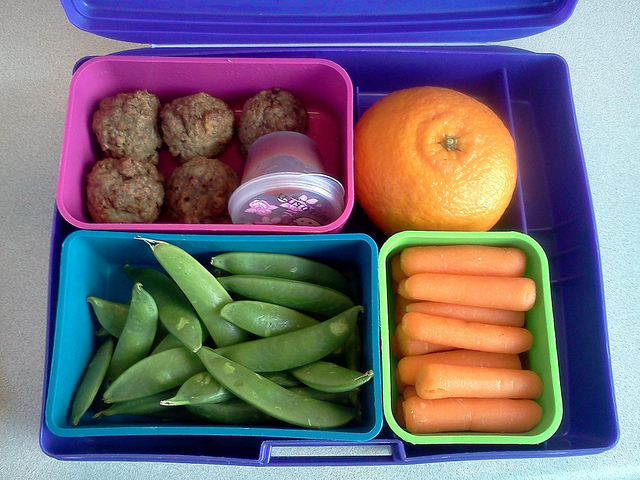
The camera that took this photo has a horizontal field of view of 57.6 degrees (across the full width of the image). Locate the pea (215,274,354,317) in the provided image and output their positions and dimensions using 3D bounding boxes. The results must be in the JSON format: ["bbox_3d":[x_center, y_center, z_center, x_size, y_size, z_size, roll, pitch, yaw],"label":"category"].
[{"bbox_3d":[-0.080,0.137,1.440,0.359,0.084,0.099,6,53,-31],"label":"pea"}]

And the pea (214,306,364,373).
[{"bbox_3d":[-0.060,0.243,1.422,0.400,0.139,0.141,-18,80,8],"label":"pea"}]

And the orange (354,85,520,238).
[{"bbox_3d":[0.283,-0.198,1.450,0.396,0.193,0.368,-1,72,2],"label":"orange"}]

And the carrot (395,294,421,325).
[{"bbox_3d":[0.219,0.174,1.463,0.023,0.064,0.068,2,84,-33],"label":"carrot"}]

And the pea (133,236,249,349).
[{"bbox_3d":[-0.295,0.103,1.382,0.093,0.140,0.336,-37,75,-10],"label":"pea"}]

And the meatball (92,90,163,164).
[{"bbox_3d":[-0.508,-0.295,1.542,0.151,0.117,0.165,-1,72,2],"label":"meatball"}]

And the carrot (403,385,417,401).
[{"bbox_3d":[0.212,0.360,1.389,0.026,0.027,0.033,6,99,-5],"label":"carrot"}]

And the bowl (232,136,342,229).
[{"bbox_3d":[-0.082,-0.152,1.454,0.231,0.241,0.187,-10,52,4],"label":"bowl"}]

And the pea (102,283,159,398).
[{"bbox_3d":[-0.439,0.221,1.430,0.093,0.097,0.306,19,96,-6],"label":"pea"}]

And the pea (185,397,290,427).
[{"bbox_3d":[-0.234,0.414,1.424,0.197,0.141,0.050,2,84,44],"label":"pea"}]

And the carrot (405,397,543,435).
[{"bbox_3d":[0.348,0.401,1.403,0.371,0.116,0.117,2,77,-4],"label":"carrot"}]

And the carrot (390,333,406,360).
[{"bbox_3d":[0.196,0.259,1.446,0.016,0.050,0.049,-13,33,-2],"label":"carrot"}]

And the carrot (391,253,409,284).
[{"bbox_3d":[0.191,0.068,1.450,0.032,0.060,0.063,-11,98,-4],"label":"carrot"}]

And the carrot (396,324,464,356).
[{"bbox_3d":[0.267,0.230,1.394,0.142,0.051,0.073,5,110,8],"label":"carrot"}]

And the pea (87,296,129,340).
[{"bbox_3d":[-0.517,0.183,1.433,0.119,0.033,0.076,36,100,-10],"label":"pea"}]

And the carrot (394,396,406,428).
[{"bbox_3d":[0.190,0.409,1.403,0.017,0.053,0.056,-4,93,7],"label":"carrot"}]

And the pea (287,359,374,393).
[{"bbox_3d":[0.020,0.309,1.326,0.207,0.078,0.071,3,113,22],"label":"pea"}]

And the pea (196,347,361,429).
[{"bbox_3d":[-0.104,0.343,1.330,0.390,0.065,0.097,21,89,2],"label":"pea"}]

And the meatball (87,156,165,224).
[{"bbox_3d":[-0.500,-0.121,1.494,0.182,0.093,0.172,-2,72,1],"label":"meatball"}]
